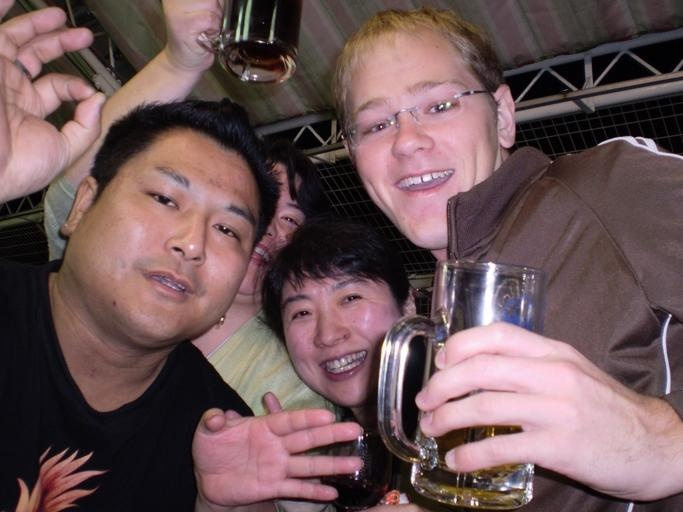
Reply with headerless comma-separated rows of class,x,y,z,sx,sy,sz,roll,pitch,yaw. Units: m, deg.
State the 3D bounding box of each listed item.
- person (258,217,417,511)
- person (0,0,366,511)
person,-0.012,0.392,2.037,0.544,1.054,0.529,-27,-33,33
person,-0.547,0.082,1.739,0.751,1.125,0.732,-15,11,-15
